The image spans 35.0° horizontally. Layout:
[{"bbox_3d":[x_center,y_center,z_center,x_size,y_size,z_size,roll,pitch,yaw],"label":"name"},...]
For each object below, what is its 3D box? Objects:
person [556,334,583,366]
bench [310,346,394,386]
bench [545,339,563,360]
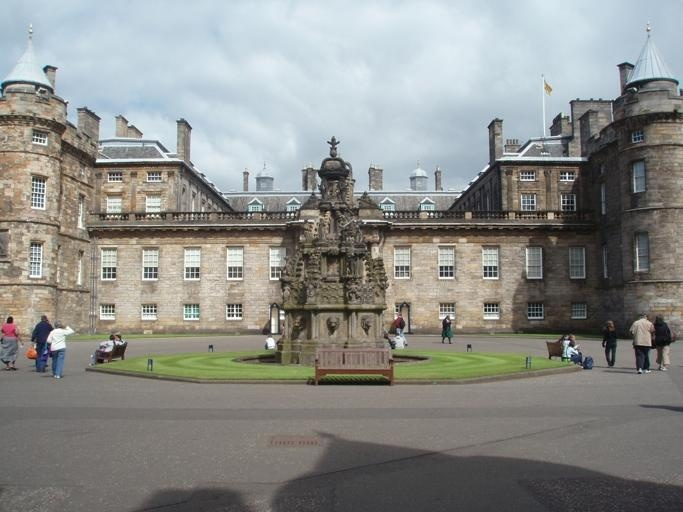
[{"bbox_3d":[10.075,4.164,47.621,1.147,1.777,0.880,0,-2,-8],"label":"person"},{"bbox_3d":[0.438,4.240,41.813,2.959,1.310,0.667,0,4,-1],"label":"bench"},{"bbox_3d":[9.681,4.302,49.384,0.337,0.728,0.905,1,-9,-22],"label":"bench"}]
